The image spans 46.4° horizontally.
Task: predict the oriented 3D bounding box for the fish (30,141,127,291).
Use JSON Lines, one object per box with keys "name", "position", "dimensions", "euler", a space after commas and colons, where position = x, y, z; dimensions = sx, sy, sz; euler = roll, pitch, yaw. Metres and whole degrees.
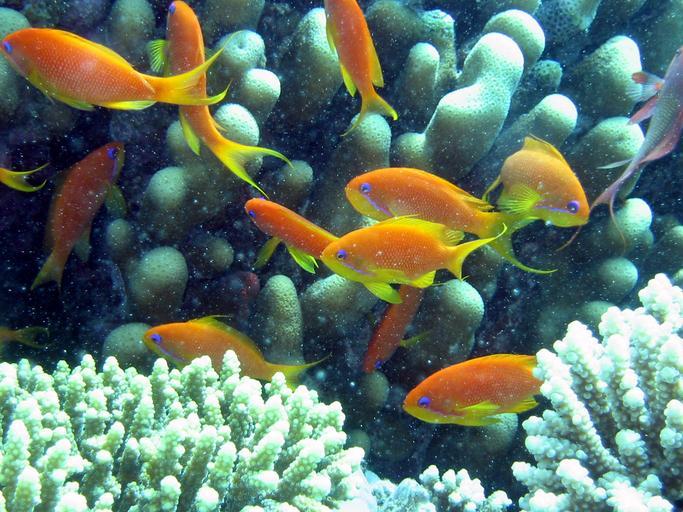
{"name": "fish", "position": [-1.783, -0.298, 5.328], "dimensions": [0.354, 0.853, 0.800], "euler": [36, 45, 16]}
